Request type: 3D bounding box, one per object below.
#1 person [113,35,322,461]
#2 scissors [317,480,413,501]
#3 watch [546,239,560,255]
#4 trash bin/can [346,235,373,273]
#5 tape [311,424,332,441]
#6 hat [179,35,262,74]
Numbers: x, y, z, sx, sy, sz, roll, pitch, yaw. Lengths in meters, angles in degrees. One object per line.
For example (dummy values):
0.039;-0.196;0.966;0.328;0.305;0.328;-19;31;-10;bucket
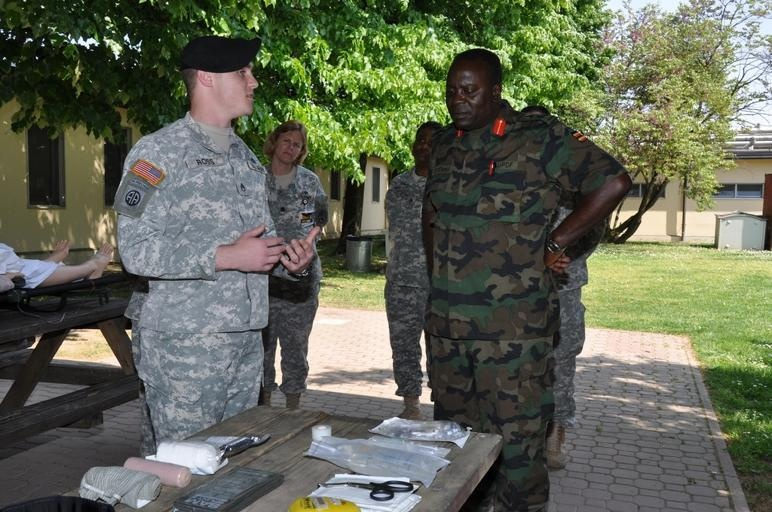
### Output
-0.926;-0.007;3.282;0.939;2.366;0.743;-3;9;-23;person
-0.048;0.948;2.520;0.218;0.015;0.121;2;9;12;scissors
0.987;-0.052;3.611;0.077;0.044;0.081;37;16;31;watch
-0.715;-0.027;17.369;1.103;0.913;0.961;1;-2;6;trash bin/can
-0.302;0.816;2.841;0.076;0.044;0.068;2;3;3;tape
-0.902;-1.048;3.357;0.374;0.114;0.224;-10;40;2;hat
